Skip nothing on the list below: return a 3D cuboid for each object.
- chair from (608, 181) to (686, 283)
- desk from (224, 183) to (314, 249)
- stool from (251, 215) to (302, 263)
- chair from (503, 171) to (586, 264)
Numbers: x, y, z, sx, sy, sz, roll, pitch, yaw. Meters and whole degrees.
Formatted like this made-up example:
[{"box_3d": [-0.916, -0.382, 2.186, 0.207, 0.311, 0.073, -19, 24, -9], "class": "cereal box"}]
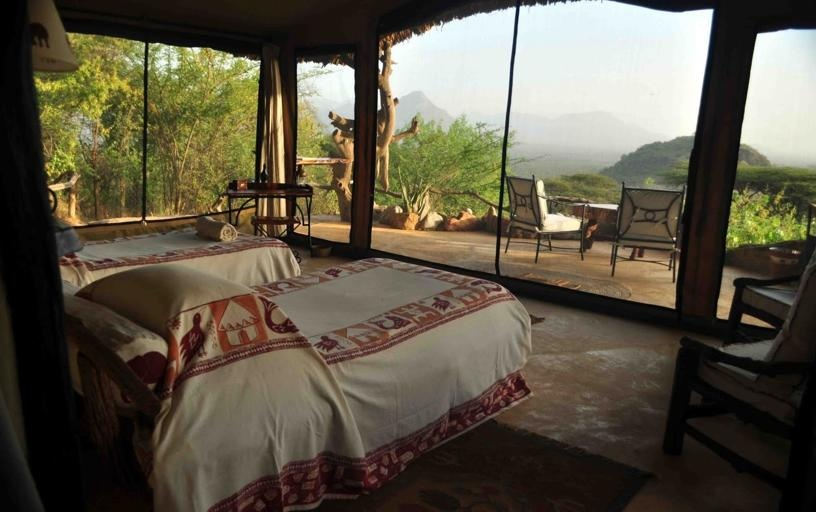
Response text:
[{"box_3d": [2.683, -0.287, 5.889, 0.649, 0.989, 0.688, 6, 16, 18], "class": "chair"}, {"box_3d": [-1.546, -0.457, 5.939, 0.960, 0.694, 0.524, -2, 3, -19], "class": "desk"}, {"box_3d": [-1.480, -0.199, 5.992, 0.491, 0.468, 0.416, -3, 0, -16], "class": "stool"}, {"box_3d": [1.666, -0.471, 6.457, 0.866, 0.939, 0.791, 0, 12, -13], "class": "chair"}]
